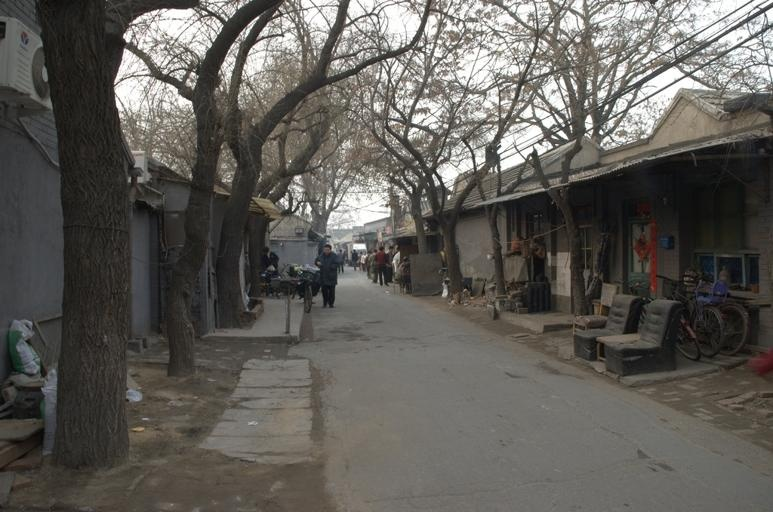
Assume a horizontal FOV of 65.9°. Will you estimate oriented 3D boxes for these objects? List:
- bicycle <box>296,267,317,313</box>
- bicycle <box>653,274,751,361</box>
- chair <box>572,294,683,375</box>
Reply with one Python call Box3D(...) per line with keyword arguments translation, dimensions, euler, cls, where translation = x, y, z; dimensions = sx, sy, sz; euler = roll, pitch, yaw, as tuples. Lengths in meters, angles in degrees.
Box3D(translation=(-2.707, 1.175, 20.468), dimensions=(0.774, 1.344, 2.219), euler=(-2, 10, -7), cls="bicycle")
Box3D(translation=(6.563, 1.237, 12.097), dimensions=(0.969, 1.338, 2.128), euler=(3, 8, -2), cls="bicycle")
Box3D(translation=(4.737, 1.492, 11.609), dimensions=(1.348, 1.430, 1.589), euler=(-2, 10, -11), cls="chair")
